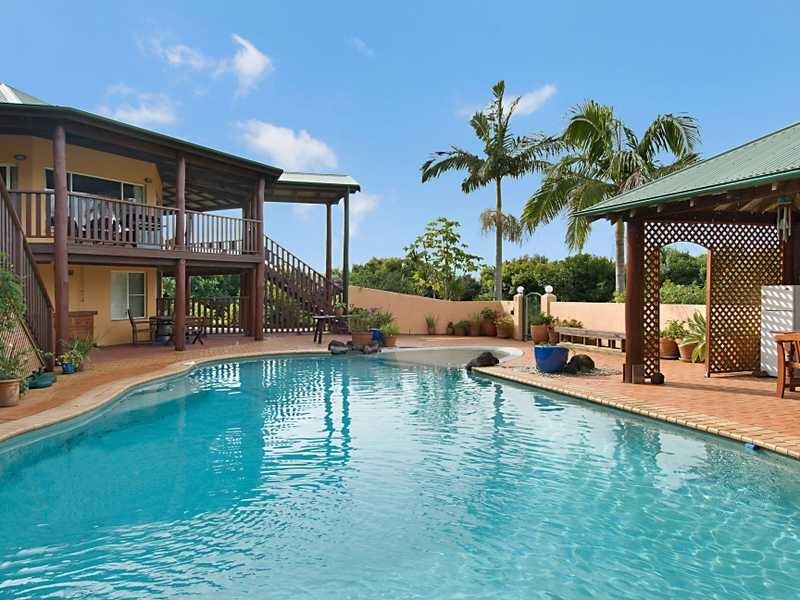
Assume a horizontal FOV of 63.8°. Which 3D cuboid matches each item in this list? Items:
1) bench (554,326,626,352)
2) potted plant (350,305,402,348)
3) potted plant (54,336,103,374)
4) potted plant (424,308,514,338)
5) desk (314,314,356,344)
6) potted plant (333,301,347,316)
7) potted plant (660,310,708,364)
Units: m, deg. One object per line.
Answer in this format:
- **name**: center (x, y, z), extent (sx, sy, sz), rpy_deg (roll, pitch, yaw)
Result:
- **bench**: center (5.323, 1.082, 17.969), extent (0.531, 0.474, 2.540), rpy_deg (-1, 2, -31)
- **potted plant**: center (-1.009, 0.846, 21.218), extent (1.285, 1.004, 1.246), rpy_deg (1, -1, 4)
- **potted plant**: center (-6.773, 1.054, 13.282), extent (0.704, 0.781, 0.634), rpy_deg (25, 17, 18)
- **potted plant**: center (2.977, 0.871, 23.255), extent (0.841, 1.024, 2.842), rpy_deg (-9, 11, -44)
- **desk**: center (-2.244, 0.851, 20.877), extent (1.172, 0.858, 2.626), rpy_deg (-1, 8, 0)
- **potted plant**: center (-2.081, 0.312, 22.157), extent (0.394, 0.427, 0.408), rpy_deg (0, -3, -6)
- **potted plant**: center (6.713, 0.875, 15.108), extent (0.998, 0.992, 1.024), rpy_deg (1, -1, -45)
